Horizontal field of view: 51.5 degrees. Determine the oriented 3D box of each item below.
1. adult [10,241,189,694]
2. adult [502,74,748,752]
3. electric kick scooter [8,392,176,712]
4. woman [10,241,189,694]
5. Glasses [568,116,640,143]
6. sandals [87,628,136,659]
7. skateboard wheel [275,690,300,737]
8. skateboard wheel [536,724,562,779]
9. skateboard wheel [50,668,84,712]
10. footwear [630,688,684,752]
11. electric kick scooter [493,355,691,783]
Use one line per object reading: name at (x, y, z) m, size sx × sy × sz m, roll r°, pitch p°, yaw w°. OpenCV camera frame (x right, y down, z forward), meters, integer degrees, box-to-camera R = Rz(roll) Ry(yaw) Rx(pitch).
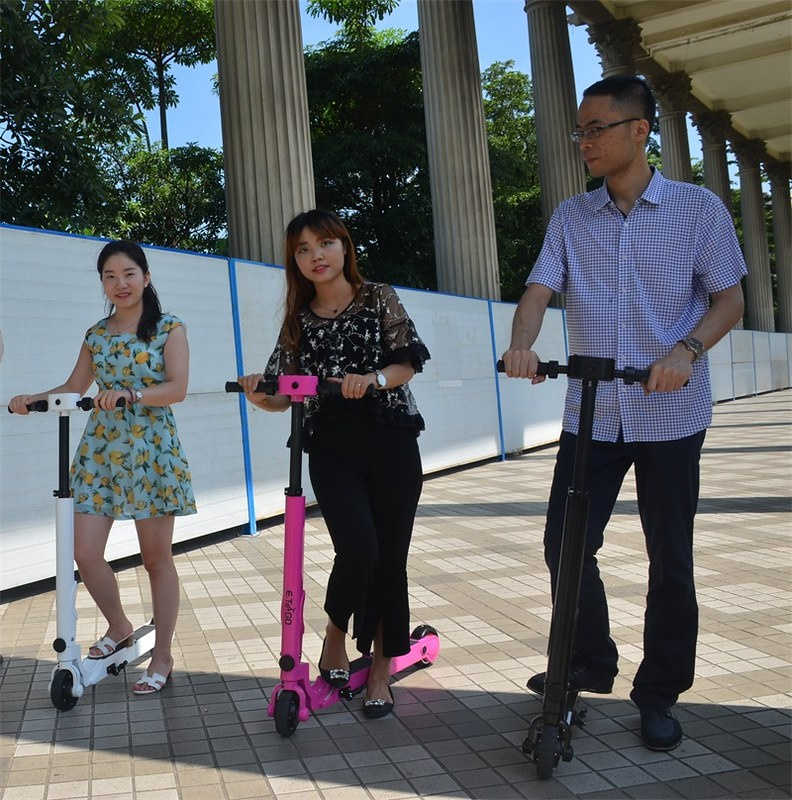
adult at (-1.250, 0.284, 3.435) m, size 0.910 × 1.881 × 0.770 m, roll -1°, pitch -2°, yaw 6°
adult at (0.782, 0.045, 2.806) m, size 0.881 × 2.274 × 0.849 m, roll 1°, pitch 0°, yaw 21°
electric kick scooter at (-1.264, 0.602, 3.466) m, size 0.413 × 1.167 × 0.710 m, roll -4°, pitch 2°, yaw -17°
woman at (-1.237, 0.282, 3.438) m, size 0.876 × 1.880 × 0.779 m, roll -1°, pitch -1°, yaw 10°
Glasses at (0.699, -0.921, 2.756) m, size 0.126 × 0.030 × 0.118 m, roll -9°, pitch -1°, yaw -27°
sandals at (-1.201, 1.047, 3.517) m, size 0.076 × 0.048 × 0.181 m, roll -3°, pitch -3°, yaw 21°
skateboard wheel at (-0.376, 1.094, 2.865) m, size 0.075 × 0.129 × 0.061 m, roll -3°, pitch 2°, yaw 26°
skateboard wheel at (0.465, 1.070, 2.509) m, size 0.088 × 0.131 × 0.153 m, roll 1°, pitch -19°, yaw 5°
skateboard wheel at (-1.305, 1.141, 3.258) m, size 0.098 × 0.157 × 0.174 m, roll -4°, pitch 2°, yaw -22°
footwear at (0.863, 1.069, 2.731) m, size 0.085 × 0.075 × 0.216 m, roll -10°, pitch 6°, yaw 9°
electric kick scooter at (0.588, 0.512, 2.642) m, size 0.443 × 1.304 × 0.481 m, roll -4°, pitch 2°, yaw 7°
